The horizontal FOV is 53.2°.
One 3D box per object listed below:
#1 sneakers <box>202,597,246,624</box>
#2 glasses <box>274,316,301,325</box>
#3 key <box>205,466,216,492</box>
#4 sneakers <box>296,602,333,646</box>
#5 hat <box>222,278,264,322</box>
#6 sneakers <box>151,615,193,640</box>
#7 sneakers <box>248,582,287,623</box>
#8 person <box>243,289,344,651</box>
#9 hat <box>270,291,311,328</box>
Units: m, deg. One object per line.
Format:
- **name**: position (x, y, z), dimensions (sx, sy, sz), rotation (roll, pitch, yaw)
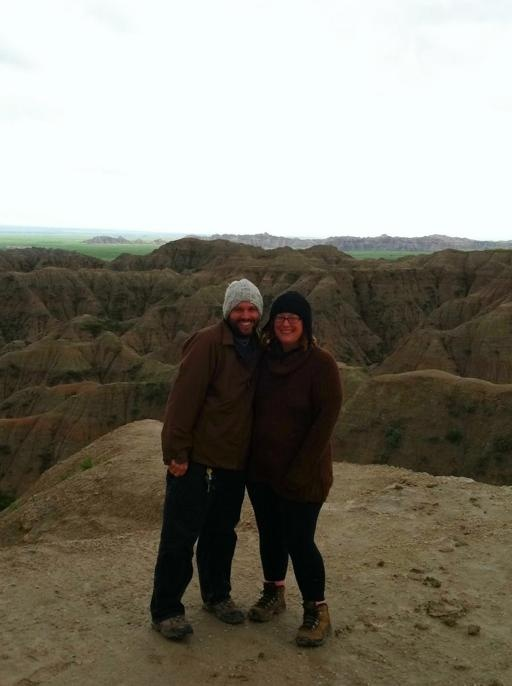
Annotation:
- **sneakers**: position (-0.220, 1.865, 3.511), dimensions (0.111, 0.118, 0.305), rotation (16, -23, -37)
- **glasses**: position (0.190, -0.137, 3.158), dimensions (0.084, 0.026, 0.086), rotation (0, -23, 11)
- **key**: position (-0.280, 0.866, 3.169), dimensions (0.058, 0.153, 0.062), rotation (0, -6, -6)
- **sneakers**: position (0.363, 1.783, 3.175), dimensions (0.127, 0.171, 0.345), rotation (-5, -19, 15)
- **hat**: position (-0.098, -0.285, 3.359), dimensions (0.258, 0.249, 0.267), rotation (1, -8, -12)
- **sneakers**: position (-0.527, 1.816, 3.205), dimensions (0.101, 0.111, 0.252), rotation (34, -40, -33)
- **sneakers**: position (0.090, 1.820, 3.525), dimensions (0.142, 0.236, 0.384), rotation (-3, -19, 28)
- **person**: position (0.213, 0.792, 3.292), dimensions (0.533, 2.238, 0.799), rotation (1, -6, -15)
- **hat**: position (0.247, -0.208, 3.265), dimensions (0.213, 0.212, 0.240), rotation (18, -13, 18)
